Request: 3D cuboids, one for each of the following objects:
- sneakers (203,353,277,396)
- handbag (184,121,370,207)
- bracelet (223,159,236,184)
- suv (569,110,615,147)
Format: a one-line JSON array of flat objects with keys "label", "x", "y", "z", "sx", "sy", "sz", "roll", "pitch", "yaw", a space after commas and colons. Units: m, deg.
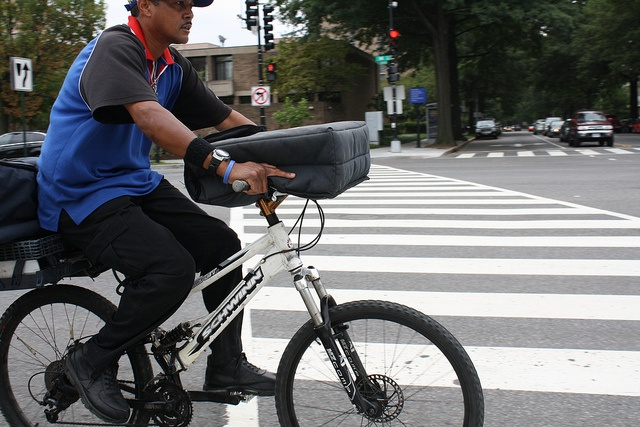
[{"label": "sneakers", "x": -0.448, "y": 1.002, "z": 3.622, "sx": 0.561, "sy": 0.168, "sz": 0.177, "roll": -4, "pitch": -4, "yaw": 18}, {"label": "handbag", "x": -0.225, "y": -0.309, "z": 3.470, "sx": 1.007, "sy": 0.337, "sz": 0.885, "roll": 0, "pitch": 15, "yaw": 32}, {"label": "bracelet", "x": -0.487, "y": -0.222, "z": 3.137, "sx": 0.070, "sy": 0.125, "sz": 0.037, "roll": -2, "pitch": 9, "yaw": -6}, {"label": "suv", "x": 13.358, "y": -4.553, "z": 29.139, "sx": 1.826, "sy": 1.283, "sz": 2.980, "roll": 0, "pitch": 24, "yaw": 10}]
